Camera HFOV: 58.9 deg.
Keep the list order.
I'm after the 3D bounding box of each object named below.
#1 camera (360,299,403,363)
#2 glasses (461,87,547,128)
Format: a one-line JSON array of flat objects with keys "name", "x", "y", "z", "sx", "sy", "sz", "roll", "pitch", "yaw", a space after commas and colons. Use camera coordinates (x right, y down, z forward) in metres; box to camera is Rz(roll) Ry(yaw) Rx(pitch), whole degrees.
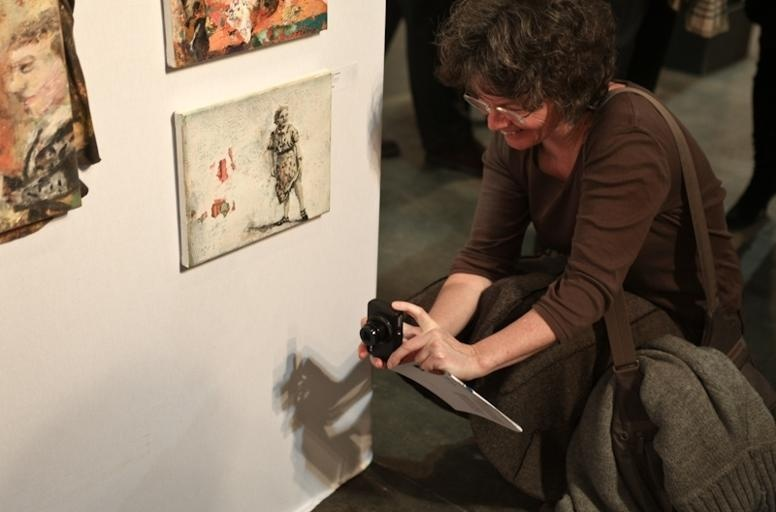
[{"name": "camera", "x": -0.018, "y": 0.203, "z": 1.801, "sx": 0.100, "sy": 0.163, "sz": 0.094, "roll": 21, "pitch": 36, "yaw": 30}, {"name": "glasses", "x": 0.284, "y": -0.369, "z": 1.730, "sx": 0.204, "sy": 0.088, "sz": 0.054, "roll": 13, "pitch": 35, "yaw": 22}]
